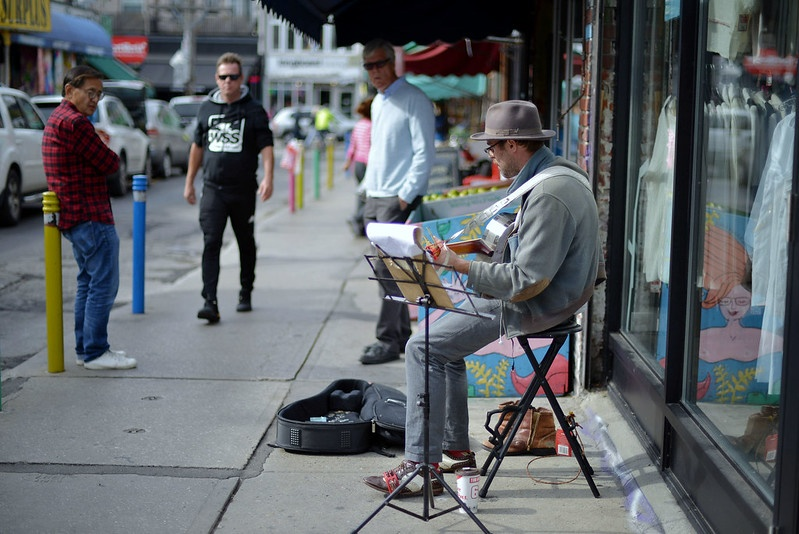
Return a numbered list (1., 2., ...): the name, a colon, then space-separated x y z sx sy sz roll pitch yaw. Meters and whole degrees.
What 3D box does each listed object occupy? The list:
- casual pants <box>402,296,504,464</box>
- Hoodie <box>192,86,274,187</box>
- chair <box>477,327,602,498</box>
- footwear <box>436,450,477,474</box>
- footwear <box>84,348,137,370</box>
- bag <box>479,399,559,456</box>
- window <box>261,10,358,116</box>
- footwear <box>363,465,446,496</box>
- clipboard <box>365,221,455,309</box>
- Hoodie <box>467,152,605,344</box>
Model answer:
1. casual pants: 0.300 0.773 6.883 0.863 1.405 0.962 -1 -1 13
2. Hoodie: -1.680 -1.295 9.519 0.789 0.997 0.375 0 11 -4
3. chair: 1.009 0.968 6.603 0.771 1.122 0.735 5 0 5
4. footwear: 0.403 1.361 6.573 0.320 0.149 0.114 0 -1 1
5. footwear: -2.477 0.829 8.155 0.280 0.111 0.213 -5 6 -13
6. bag: 0.794 1.224 7.061 0.706 0.559 0.283 2 -4 -3
7. window: -4.995 -11.278 53.058 4.871 5.222 2.349 3 11 11
8. footwear: 0.038 1.418 6.314 0.525 0.251 0.216 2 3 0
9. clipboard: 0.092 0.007 5.831 0.475 0.106 0.507 -2 35 -49
10. Hoodie: 0.947 -0.076 6.290 0.598 1.042 1.164 4 27 23
